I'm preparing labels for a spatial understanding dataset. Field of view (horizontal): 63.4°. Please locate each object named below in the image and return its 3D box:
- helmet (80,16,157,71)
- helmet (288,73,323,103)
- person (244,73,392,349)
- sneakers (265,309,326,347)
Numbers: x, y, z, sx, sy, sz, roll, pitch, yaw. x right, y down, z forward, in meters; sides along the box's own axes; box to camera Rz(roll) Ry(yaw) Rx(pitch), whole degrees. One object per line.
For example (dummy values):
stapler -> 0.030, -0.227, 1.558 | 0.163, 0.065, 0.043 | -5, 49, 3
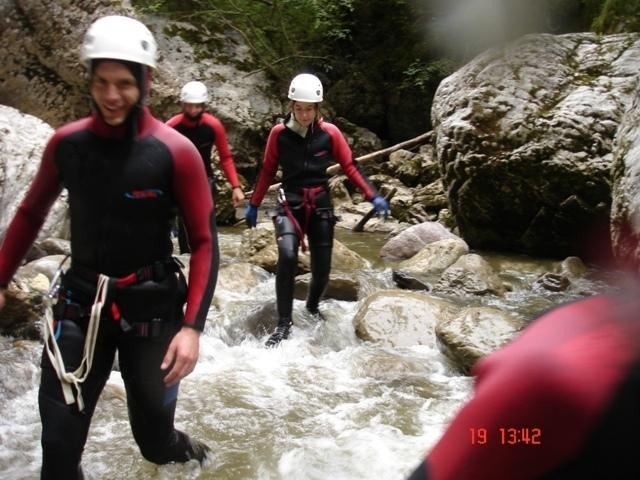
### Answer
helmet -> -0.733, -0.728, 2.030 | 0.203, 0.193, 0.249 | 6, -17, 13
helmet -> -0.122, -1.305, 4.419 | 0.266, 0.255, 0.348 | -1, 12, -4
person -> -0.102, -0.286, 4.547 | 1.077, 2.303, 0.672 | -2, 13, -8
sneakers -> -0.174, 0.801, 4.715 | 0.206, 0.255, 0.652 | 24, 18, 30
